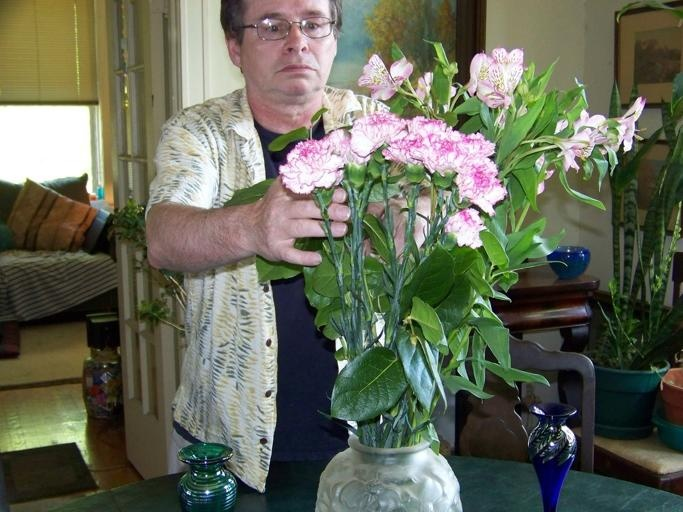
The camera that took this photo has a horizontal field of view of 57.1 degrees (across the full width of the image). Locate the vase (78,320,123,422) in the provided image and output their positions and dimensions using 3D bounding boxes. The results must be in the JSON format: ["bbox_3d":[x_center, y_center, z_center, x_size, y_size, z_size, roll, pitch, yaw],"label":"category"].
[{"bbox_3d":[-1.500,0.708,4.023,0.271,0.660,0.263,-9,1,-44],"label":"vase"}]

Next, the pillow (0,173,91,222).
[{"bbox_3d":[-2.862,-0.627,6.036,0.546,0.280,0.591,-10,43,-24],"label":"pillow"}]

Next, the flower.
[{"bbox_3d":[0.157,-0.021,1.047,0.537,0.638,0.382,-8,13,-30],"label":"flower"}]

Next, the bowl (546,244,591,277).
[{"bbox_3d":[1.120,0.027,3.024,0.162,0.132,0.159,2,5,0],"label":"bowl"}]
